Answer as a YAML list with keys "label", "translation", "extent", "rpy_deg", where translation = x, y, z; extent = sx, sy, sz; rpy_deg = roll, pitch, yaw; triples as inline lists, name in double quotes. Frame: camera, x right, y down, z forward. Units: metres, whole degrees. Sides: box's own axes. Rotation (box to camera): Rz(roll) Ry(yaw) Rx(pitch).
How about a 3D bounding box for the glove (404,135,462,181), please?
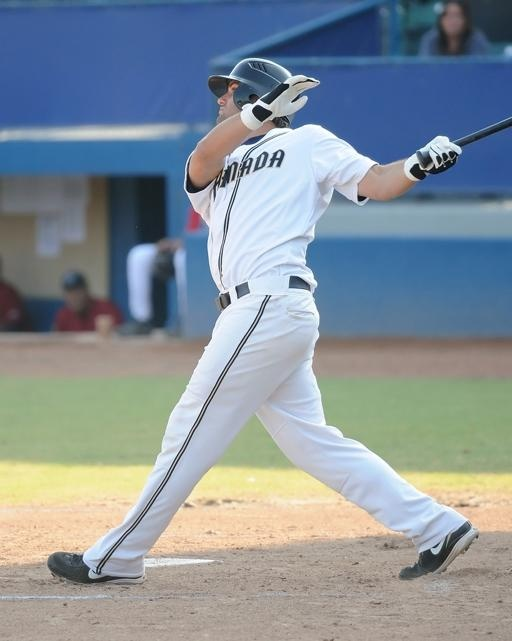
- label: "glove"
  translation: [0.472, -0.427, 2.884]
  extent: [0.158, 0.070, 0.124]
  rpy_deg: [-35, 34, -21]

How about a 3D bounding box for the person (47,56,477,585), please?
- label: "person"
  translation: [0.020, 0.042, 3.048]
  extent: [1.152, 1.422, 0.327]
  rpy_deg: [-2, 7, 3]

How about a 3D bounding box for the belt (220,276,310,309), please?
- label: "belt"
  translation: [0.020, -0.079, 2.988]
  extent: [0.267, 0.090, 0.128]
  rpy_deg: [-2, 5, 0]
